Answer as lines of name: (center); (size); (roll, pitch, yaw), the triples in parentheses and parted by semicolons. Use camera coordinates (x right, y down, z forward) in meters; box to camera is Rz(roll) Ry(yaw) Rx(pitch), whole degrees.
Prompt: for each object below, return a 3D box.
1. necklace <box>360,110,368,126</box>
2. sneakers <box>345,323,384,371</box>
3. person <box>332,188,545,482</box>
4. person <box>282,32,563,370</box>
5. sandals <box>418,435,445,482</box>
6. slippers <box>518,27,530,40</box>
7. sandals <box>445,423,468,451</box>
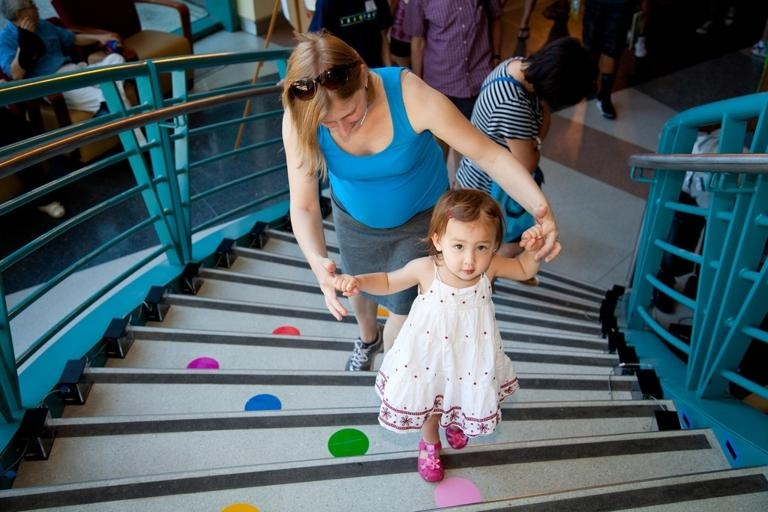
necklace: (-0.076, -0.527, 1.776); (0.019, 0.049, 0.037); (14, 8, 36)
sneakers: (-0.123, 0.545, 2.629); (0.128, 0.322, 0.148); (25, 2, 26)
person: (0.213, 0.376, 2.004); (0.807, 1.250, 0.462); (-5, 22, -12)
person: (0.075, -0.053, 2.097); (0.921, 1.739, 0.519); (-9, 31, -11)
sandals: (0.209, 0.860, 1.977); (0.072, 0.075, 0.192); (-1, 26, 2)
slippers: (2.030, -3.239, 6.741); (0.106, 0.153, 0.161); (5, 21, 17)
sandals: (0.318, 0.821, 2.113); (0.091, 0.047, 0.127); (-17, 46, -25)
